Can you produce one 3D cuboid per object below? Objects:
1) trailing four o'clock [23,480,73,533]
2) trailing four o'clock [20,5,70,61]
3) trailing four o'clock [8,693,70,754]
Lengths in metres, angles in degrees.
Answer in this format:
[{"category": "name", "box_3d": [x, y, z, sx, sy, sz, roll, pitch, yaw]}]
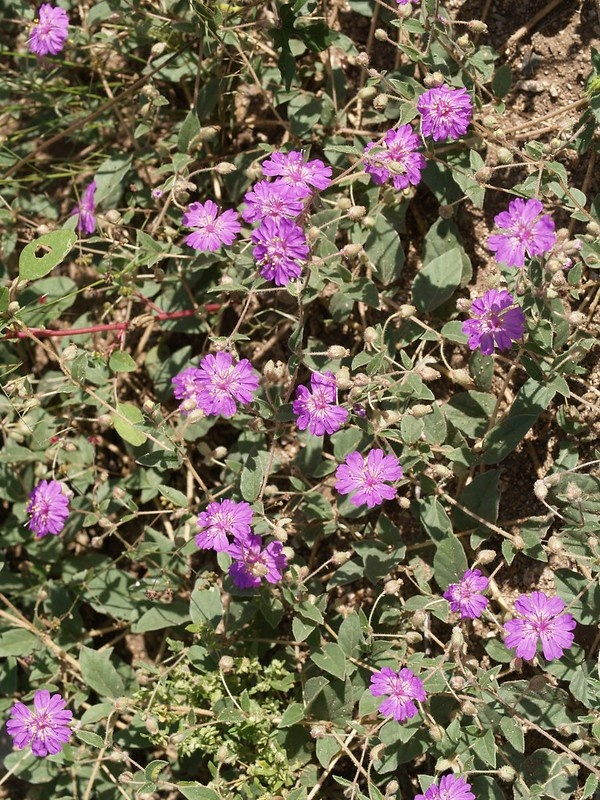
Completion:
[{"category": "trailing four o'clock", "box_3d": [-0.770, 0.315, 2.305, 0.161, 0.056, 0.159, -24, 71, 26]}, {"category": "trailing four o'clock", "box_3d": [-0.785, -1.187, 2.402, 0.185, 0.067, 0.169, -10, 83, 22]}, {"category": "trailing four o'clock", "box_3d": [-0.766, 0.956, 2.243, 0.203, 0.061, 0.191, 4, 79, 0]}]
